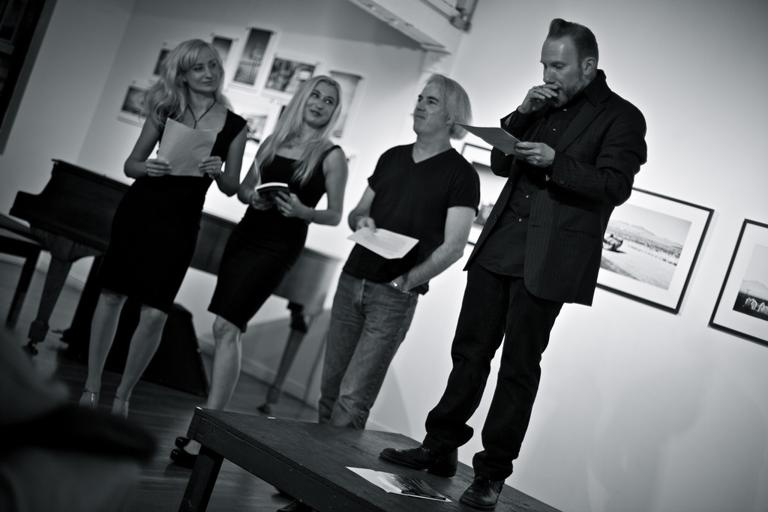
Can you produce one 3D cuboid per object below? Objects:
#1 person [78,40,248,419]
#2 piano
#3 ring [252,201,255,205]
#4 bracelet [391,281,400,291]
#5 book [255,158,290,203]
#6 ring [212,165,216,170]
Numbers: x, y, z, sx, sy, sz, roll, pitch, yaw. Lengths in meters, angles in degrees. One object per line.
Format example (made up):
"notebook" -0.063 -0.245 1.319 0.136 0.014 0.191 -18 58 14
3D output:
"person" -1.199 -0.157 2.924 0.623 1.439 0.413 14 5 -18
"piano" -1.746 0.189 4.492 2.514 1.588 1.695 24 -4 -22
"ring" -0.702 -0.283 2.810 0.011 0.019 0.047 14 8 -18
"bracelet" 0.052 0.143 2.570 0.040 0.029 0.015 47 -4 7
"book" -0.618 -0.386 2.856 0.195 0.169 0.390 16 8 -17
"ring" -0.911 -0.472 2.797 0.020 0.021 0.014 0 7 -12
